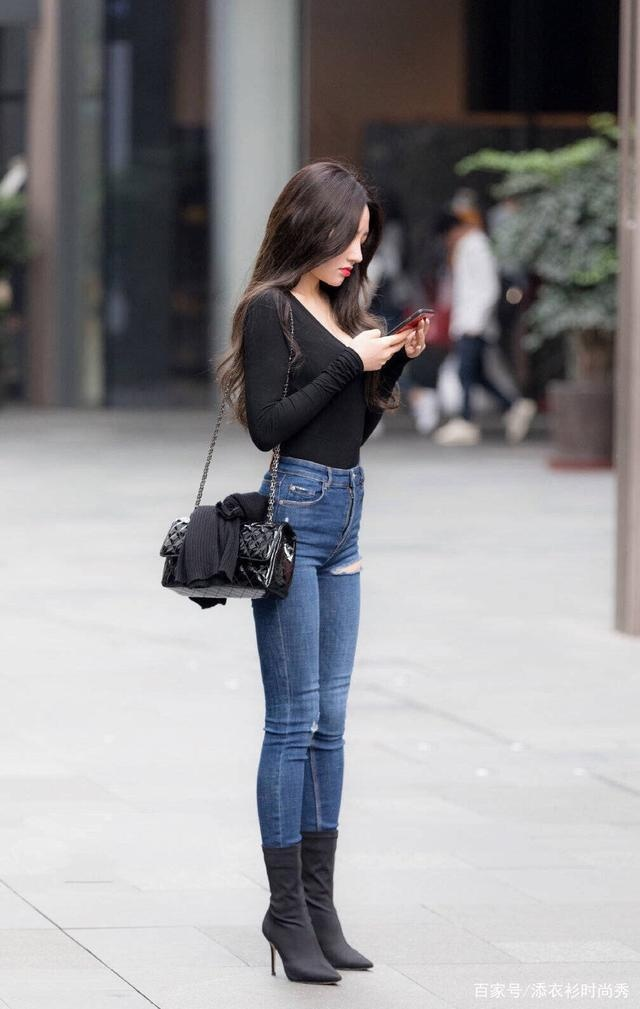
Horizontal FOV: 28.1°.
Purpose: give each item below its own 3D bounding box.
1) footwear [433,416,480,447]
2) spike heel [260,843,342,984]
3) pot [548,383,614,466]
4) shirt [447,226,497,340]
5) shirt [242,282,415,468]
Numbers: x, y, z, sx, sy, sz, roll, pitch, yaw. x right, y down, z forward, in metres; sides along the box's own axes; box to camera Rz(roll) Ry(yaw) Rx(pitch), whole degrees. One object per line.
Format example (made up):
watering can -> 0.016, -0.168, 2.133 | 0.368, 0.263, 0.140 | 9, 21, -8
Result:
footwear -> 1.468, -0.739, 13.773 | 0.399, 0.122, 0.390 | 1, 23, 11
spike heel -> -0.035, 0.727, 2.266 | 0.107, 0.218, 0.153 | -2, 7, -22
pot -> 2.453, -0.769, 12.503 | 0.824, 0.742, 0.815 | 1, 5, 0
shirt -> 1.704, -2.454, 14.283 | 0.578, 1.212, 0.587 | 2, 7, 13
shirt -> 0.010, -0.228, 2.303 | 0.283, 0.292, 0.328 | 3, 8, 37
